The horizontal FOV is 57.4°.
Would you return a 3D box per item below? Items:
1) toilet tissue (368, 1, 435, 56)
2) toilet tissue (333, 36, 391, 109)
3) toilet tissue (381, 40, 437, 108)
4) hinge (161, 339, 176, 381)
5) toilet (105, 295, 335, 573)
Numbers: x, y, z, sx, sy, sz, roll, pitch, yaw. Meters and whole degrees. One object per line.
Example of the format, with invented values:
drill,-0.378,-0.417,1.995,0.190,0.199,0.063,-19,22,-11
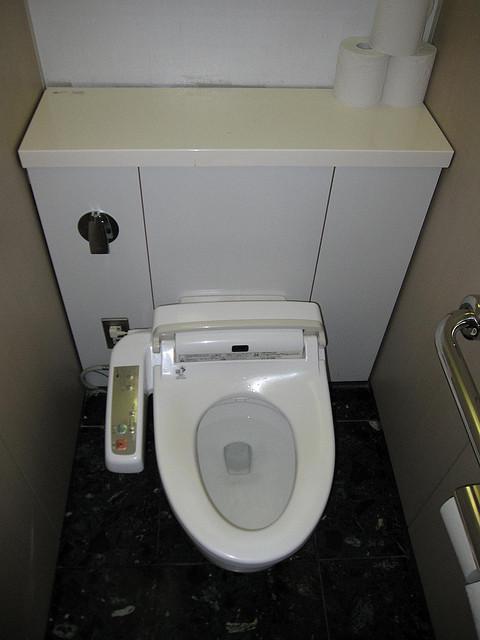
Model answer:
toilet tissue,0.336,-0.603,0.933,0.100,0.126,0.121,0,71,5
toilet tissue,0.269,-0.552,1.028,0.126,0.155,0.150,9,62,5
toilet tissue,0.397,-0.591,1.030,0.093,0.117,0.111,6,61,12
hinge,-0.164,0.090,0.996,0.030,0.071,0.060,0,48,-5
toilet,-0.051,0.243,1.062,0.491,0.337,0.723,-8,45,-11
